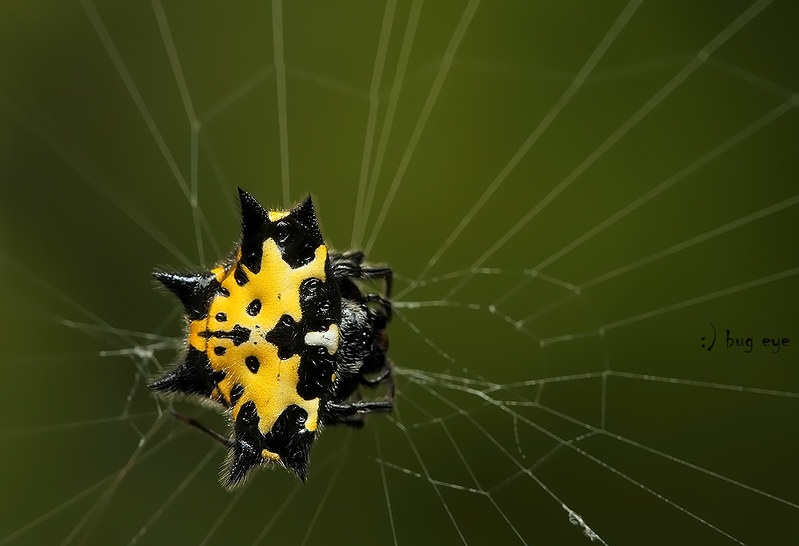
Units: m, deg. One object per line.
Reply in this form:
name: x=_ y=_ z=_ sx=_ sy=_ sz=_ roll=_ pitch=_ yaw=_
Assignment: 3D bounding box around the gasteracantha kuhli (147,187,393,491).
gasteracantha kuhli: x=-0.187 y=0.078 z=0.936 sx=0.353 sy=0.312 sz=0.434 roll=2 pitch=-65 yaw=1
